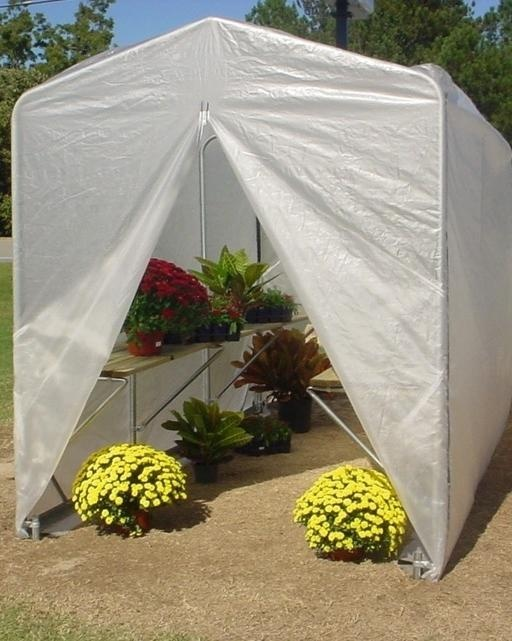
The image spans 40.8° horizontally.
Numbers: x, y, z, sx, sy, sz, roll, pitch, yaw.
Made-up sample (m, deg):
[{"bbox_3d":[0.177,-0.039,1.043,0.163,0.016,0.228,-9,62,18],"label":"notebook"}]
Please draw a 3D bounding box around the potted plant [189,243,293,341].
[{"bbox_3d":[-0.117,-0.183,4.682,0.497,0.320,0.852,2,-1,15],"label":"potted plant"}]

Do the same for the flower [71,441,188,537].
[{"bbox_3d":[-0.659,0.848,3.396,0.498,0.336,0.476,-6,10,-42],"label":"flower"}]

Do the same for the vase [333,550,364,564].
[{"bbox_3d":[0.389,1.008,2.966,0.084,0.046,0.071,0,-2,19],"label":"vase"}]

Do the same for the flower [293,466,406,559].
[{"bbox_3d":[0.391,0.838,2.992,0.423,0.261,0.436,-8,15,-34],"label":"flower"}]

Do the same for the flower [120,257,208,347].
[{"bbox_3d":[-0.506,-0.079,3.828,0.322,0.515,0.566,1,4,15],"label":"flower"}]

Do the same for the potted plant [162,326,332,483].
[{"bbox_3d":[-0.107,0.529,4.863,0.666,0.686,1.405,18,27,28],"label":"potted plant"}]

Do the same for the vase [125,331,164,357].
[{"bbox_3d":[-0.603,0.125,3.673,0.206,0.141,0.140,1,3,11],"label":"vase"}]
